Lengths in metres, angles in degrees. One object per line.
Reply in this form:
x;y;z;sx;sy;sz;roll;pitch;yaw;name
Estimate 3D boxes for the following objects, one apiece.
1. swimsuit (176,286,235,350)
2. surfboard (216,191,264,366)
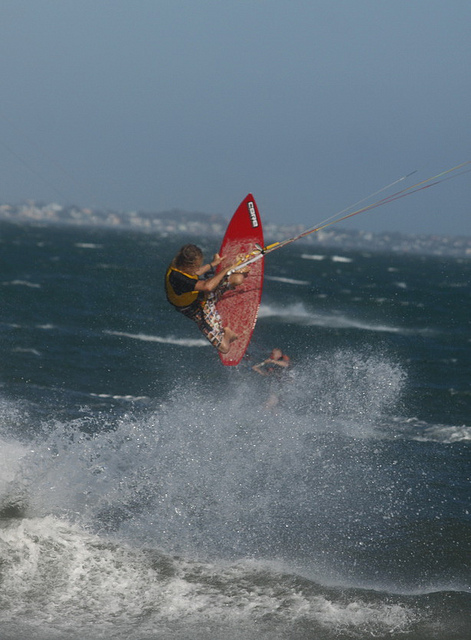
-0.500;-0.018;14.563;0.808;0.784;0.955;-10;101;-36;swimsuit
0.235;-0.982;14.791;0.800;2.753;0.241;6;54;-3;surfboard
